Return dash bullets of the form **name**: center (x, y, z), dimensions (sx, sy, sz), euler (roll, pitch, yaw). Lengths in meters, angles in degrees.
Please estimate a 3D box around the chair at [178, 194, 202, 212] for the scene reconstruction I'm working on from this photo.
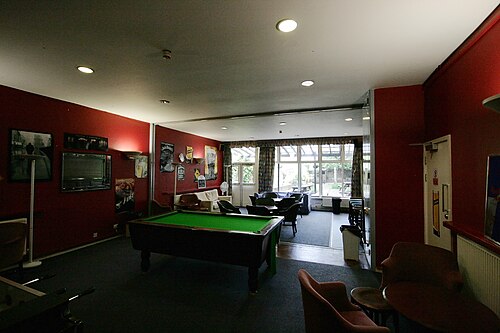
- **chair**: center (-1.603, 0.973, 9.458), dimensions (0.427, 0.537, 0.463), euler (3, -7, -35)

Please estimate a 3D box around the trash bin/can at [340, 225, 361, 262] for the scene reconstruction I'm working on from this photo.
- **trash bin/can**: center (1.978, 1.503, 6.902), dimensions (0.370, 0.653, 0.209), euler (0, -1, 15)

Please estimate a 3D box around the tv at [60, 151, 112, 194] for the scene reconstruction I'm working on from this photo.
- **tv**: center (-3.490, 0.118, 7.367), dimensions (0.094, 0.748, 0.907), euler (-2, -2, 25)

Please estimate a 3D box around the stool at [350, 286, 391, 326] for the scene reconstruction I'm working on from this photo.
- **stool**: center (1.613, 2.002, 4.933), dimensions (0.525, 0.595, 0.533), euler (-1, 0, 8)

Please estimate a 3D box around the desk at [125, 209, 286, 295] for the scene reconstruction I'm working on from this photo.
- **desk**: center (-0.740, 1.489, 6.287), dimensions (2.405, 1.111, 1.023), euler (1, -1, 17)
